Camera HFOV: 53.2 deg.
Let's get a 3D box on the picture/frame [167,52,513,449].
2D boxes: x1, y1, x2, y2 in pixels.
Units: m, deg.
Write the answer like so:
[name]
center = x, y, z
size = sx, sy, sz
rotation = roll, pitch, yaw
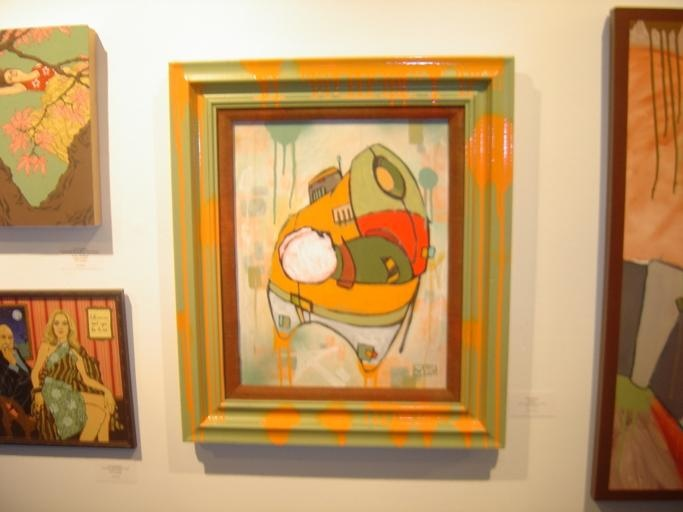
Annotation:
[picture/frame]
center = 0.017, -0.049, 1.951
size = 0.891, 1.274, 0.083
rotation = 0, 4, 4
